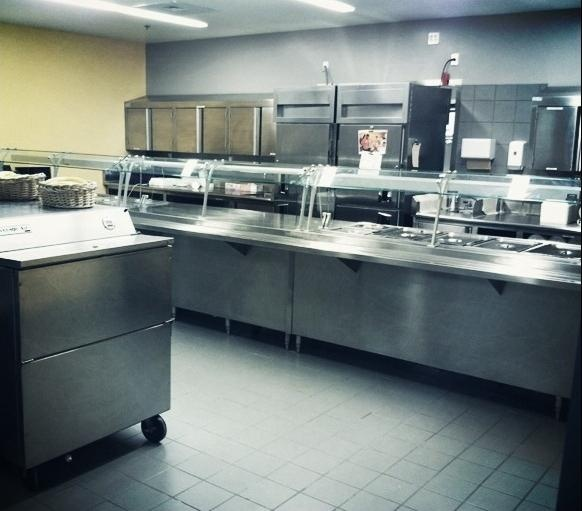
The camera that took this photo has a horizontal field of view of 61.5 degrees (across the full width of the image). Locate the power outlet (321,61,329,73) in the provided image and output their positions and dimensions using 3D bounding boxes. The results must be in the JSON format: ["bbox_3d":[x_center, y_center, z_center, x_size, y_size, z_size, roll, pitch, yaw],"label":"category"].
[{"bbox_3d":[0.482,-2.657,6.851,0.085,0.158,0.152,-9,17,-40],"label":"power outlet"}]

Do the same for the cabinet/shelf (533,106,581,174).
[{"bbox_3d":[2.845,-1.244,5.182,0.385,0.688,0.595,-1,13,-13],"label":"cabinet/shelf"}]

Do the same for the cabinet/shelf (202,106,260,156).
[{"bbox_3d":[-0.936,-1.890,7.352,1.105,0.704,0.213,13,17,42],"label":"cabinet/shelf"}]

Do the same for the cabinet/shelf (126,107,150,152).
[{"bbox_3d":[-2.708,-2.212,8.492,0.178,0.705,0.697,-10,17,-41],"label":"cabinet/shelf"}]

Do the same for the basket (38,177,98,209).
[{"bbox_3d":[-1.211,-0.329,2.634,0.295,0.135,0.198,-2,12,-15],"label":"basket"}]
